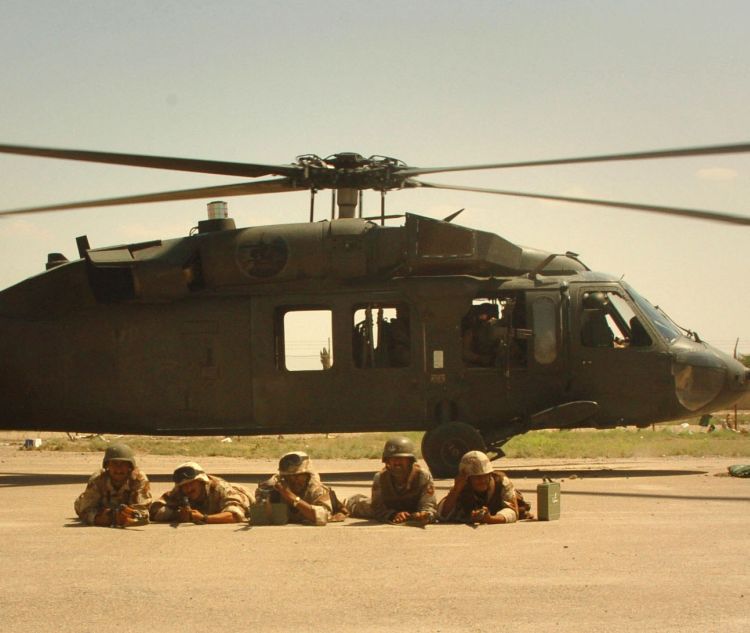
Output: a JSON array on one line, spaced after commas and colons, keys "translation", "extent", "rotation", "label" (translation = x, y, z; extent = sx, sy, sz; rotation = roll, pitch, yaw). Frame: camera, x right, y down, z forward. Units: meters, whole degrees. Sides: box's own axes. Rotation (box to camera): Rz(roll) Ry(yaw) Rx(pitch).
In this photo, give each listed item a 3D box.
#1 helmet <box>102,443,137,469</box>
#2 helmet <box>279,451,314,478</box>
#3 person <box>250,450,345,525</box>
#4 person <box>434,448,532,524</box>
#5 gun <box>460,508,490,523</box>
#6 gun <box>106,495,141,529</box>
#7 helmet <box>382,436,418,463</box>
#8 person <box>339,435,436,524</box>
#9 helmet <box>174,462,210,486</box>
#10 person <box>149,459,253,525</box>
[{"translation": [-3.054, 1.663, 14.094], "extent": [0.356, 0.232, 0.339], "rotation": [2, -14, -9], "label": "helmet"}, {"translation": [-0.918, 1.753, 13.985], "extent": [0.386, 0.236, 0.273], "rotation": [8, -11, -25], "label": "helmet"}, {"translation": [-0.969, 2.051, 14.193], "extent": [0.971, 0.698, 1.231], "rotation": [6, 7, 35], "label": "person"}, {"translation": [1.264, 2.085, 14.318], "extent": [1.103, 0.688, 1.617], "rotation": [-2, -10, 19], "label": "person"}, {"translation": [1.219, 2.324, 13.802], "extent": [0.205, 0.090, 0.262], "rotation": [0, 2, 26], "label": "gun"}, {"translation": [-2.979, 2.321, 13.873], "extent": [0.323, 0.220, 0.397], "rotation": [-4, 3, -39], "label": "gun"}, {"translation": [0.280, 1.612, 14.180], "extent": [0.395, 0.312, 0.465], "rotation": [-2, 2, -2], "label": "helmet"}, {"translation": [0.219, 1.978, 14.609], "extent": [0.900, 0.910, 1.976], "rotation": [-1, -3, -13], "label": "person"}, {"translation": [-2.208, 1.869, 14.190], "extent": [0.410, 0.262, 0.311], "rotation": [-2, 3, -14], "label": "helmet"}, {"translation": [-1.996, 2.254, 14.720], "extent": [1.299, 0.571, 1.541], "rotation": [-3, -13, 27], "label": "person"}]
